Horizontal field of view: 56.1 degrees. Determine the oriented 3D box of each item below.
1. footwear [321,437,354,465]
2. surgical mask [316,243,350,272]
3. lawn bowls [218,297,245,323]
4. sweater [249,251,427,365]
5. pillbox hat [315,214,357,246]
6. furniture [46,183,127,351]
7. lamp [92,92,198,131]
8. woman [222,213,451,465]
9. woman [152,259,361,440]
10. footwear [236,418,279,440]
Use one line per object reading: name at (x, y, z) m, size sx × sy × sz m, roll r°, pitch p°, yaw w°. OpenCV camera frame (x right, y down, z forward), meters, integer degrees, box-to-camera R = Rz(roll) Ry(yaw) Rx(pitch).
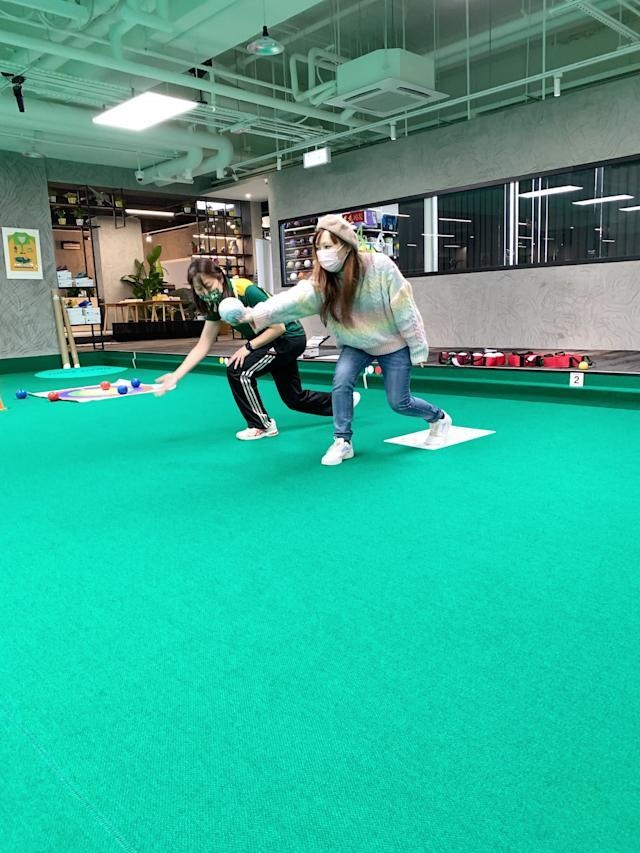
footwear at (0.107, 0.140, 3.130) m, size 0.084 × 0.095 × 0.225 m, roll 4°, pitch 7°, yaw 29°
surgical mask at (0.065, -0.776, 2.806) m, size 0.125 × 0.079 × 0.115 m, roll -39°, pitch 33°, yaw -28°
lawn bowls at (-0.417, -0.551, 2.902) m, size 0.116 × 0.130 × 0.254 m, roll -7°, pitch 14°, yaw -9°
sweater at (0.091, -0.647, 3.127) m, size 1.037 × 0.486 × 0.386 m, roll 5°, pitch 23°, yaw 23°
pillbox hat at (0.079, -0.907, 2.805) m, size 0.193 × 0.162 × 0.152 m, roll -3°, pitch 14°, yaw 5°
furniture at (-4.915, -3.471, 12.930) m, size 1.376 × 3.185 × 6.492 m, roll -11°, pitch 15°, yaw -20°
lamp at (-1.766, -3.222, 6.145) m, size 0.564 × 0.126 × 1.238 m, roll -16°, pitch 18°, yaw -42°
woman at (0.173, -0.423, 3.103) m, size 1.377 × 1.162 × 0.496 m, roll 3°, pitch 5°, yaw 10°
woman at (-0.347, -0.450, 3.761) m, size 1.345 × 1.003 × 0.404 m, roll -9°, pitch 14°, yaw -28°
footwear at (-0.388, 0.023, 3.876) m, size 0.287 × 0.117 × 0.112 m, roll -7°, pitch 8°, yaw -32°
